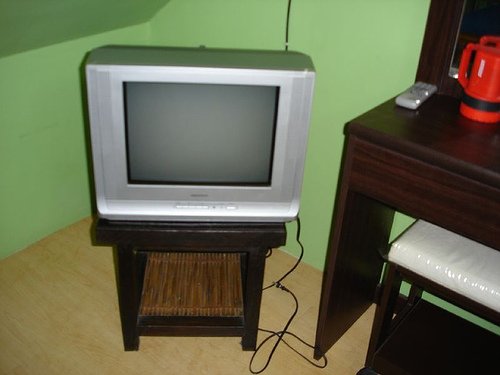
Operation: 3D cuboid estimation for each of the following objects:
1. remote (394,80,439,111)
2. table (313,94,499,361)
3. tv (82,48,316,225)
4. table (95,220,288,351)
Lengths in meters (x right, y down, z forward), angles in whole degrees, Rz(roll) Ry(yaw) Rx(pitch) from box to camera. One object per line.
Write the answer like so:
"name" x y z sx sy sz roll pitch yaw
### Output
"remote" 0.662 -0.383 1.694 0.100 0.036 0.210 26 49 29
"table" 0.642 0.239 1.755 0.573 1.085 0.501 13 30 26
"tv" -0.194 -0.060 1.965 1.067 0.855 0.633 2 32 -4
"table" -0.276 0.370 2.042 0.746 0.557 0.765 6 22 9
